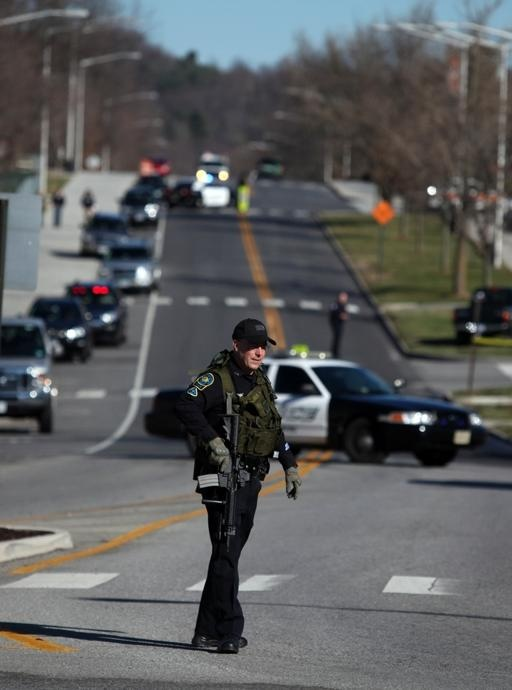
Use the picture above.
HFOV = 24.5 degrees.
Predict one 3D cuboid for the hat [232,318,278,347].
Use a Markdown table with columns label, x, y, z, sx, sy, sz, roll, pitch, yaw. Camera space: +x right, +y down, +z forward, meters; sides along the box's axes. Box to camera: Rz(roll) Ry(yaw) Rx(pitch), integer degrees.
| label | x | y | z | sx | sy | sz | roll | pitch | yaw |
| --- | --- | --- | --- | --- | --- | --- | --- | --- | --- |
| hat | -0.006 | -0.052 | 5.724 | 0.127 | 0.098 | 0.194 | -1 | 1 | -38 |

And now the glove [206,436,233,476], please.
| label | x | y | z | sx | sy | sz | roll | pitch | yaw |
| --- | --- | --- | --- | --- | --- | --- | --- | --- | --- |
| glove | -0.184 | 0.526 | 5.583 | 0.125 | 0.160 | 0.078 | 10 | -28 | -31 |

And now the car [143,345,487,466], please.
| label | x | y | z | sx | sy | sz | roll | pitch | yaw |
| --- | --- | --- | --- | --- | --- | --- | --- | --- | --- |
| car | 1.014 | 0.769 | 17.444 | 4.590 | 1.261 | 1.884 | -1 | -1 | 30 |

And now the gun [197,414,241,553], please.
| label | x | y | z | sx | sy | sz | roll | pitch | yaw |
| --- | --- | --- | --- | --- | --- | --- | --- | --- | --- |
| gun | -0.170 | 0.665 | 5.734 | 0.313 | 0.669 | 0.081 | 7 | -6 | -22 |

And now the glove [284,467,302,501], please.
| label | x | y | z | sx | sy | sz | roll | pitch | yaw |
| --- | --- | --- | --- | --- | --- | --- | --- | --- | --- |
| glove | 0.182 | 0.692 | 5.948 | 0.122 | 0.186 | 0.071 | -2 | -1 | -21 |

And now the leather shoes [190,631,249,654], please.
| label | x | y | z | sx | sy | sz | roll | pitch | yaw |
| --- | --- | --- | --- | --- | --- | --- | --- | --- | --- |
| leather shoes | -0.177 | 1.387 | 5.481 | 0.254 | 0.095 | 0.089 | 1 | 15 | 0 |
